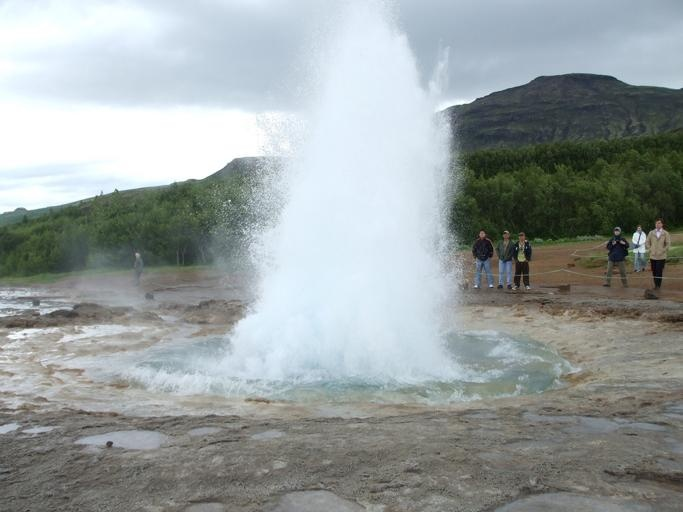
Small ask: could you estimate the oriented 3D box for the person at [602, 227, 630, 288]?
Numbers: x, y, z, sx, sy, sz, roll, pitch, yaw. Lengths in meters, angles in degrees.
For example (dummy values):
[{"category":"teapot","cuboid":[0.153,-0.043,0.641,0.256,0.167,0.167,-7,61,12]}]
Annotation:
[{"category":"person","cuboid":[8.685,0.041,17.856,0.678,1.286,2.004,-1,0,25]}]
